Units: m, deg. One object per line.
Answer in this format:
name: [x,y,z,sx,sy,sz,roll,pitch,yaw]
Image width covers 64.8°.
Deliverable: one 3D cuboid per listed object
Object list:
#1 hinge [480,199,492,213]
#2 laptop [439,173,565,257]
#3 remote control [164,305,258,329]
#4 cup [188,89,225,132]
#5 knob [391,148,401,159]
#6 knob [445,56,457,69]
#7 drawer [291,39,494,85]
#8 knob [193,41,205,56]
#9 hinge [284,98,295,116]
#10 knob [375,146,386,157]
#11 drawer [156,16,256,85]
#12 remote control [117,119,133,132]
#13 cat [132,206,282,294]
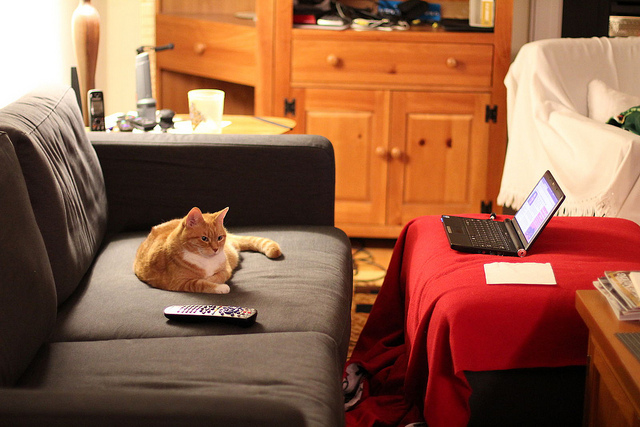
hinge: [1.045,-0.047,3.175,0.061,0.085,0.023,4,8,5]
laptop: [0.669,-0.027,1.915,0.393,0.255,0.387,6,21,13]
remote control: [-0.311,0.288,1.481,0.268,0.047,0.095,5,20,8]
cup: [-0.559,-0.499,2.486,0.217,0.236,0.216,1,10,0]
knob: [0.466,-0.367,3.119,0.053,0.062,0.053,-6,50,10]
knob: [0.782,-0.900,3.007,0.071,0.064,0.039,5,20,9]
drawer: [0.434,-0.905,3.035,1.198,0.230,0.103,1,20,-1]
knob: [-0.778,-1.052,3.227,0.095,0.087,0.040,18,26,38]
hinge: [-0.185,-0.660,3.106,0.096,0.132,0.014,2,20,5]
knob: [0.370,-0.380,3.102,0.057,0.066,0.057,5,23,-7]
drawer: [-0.733,-1.048,3.233,0.756,0.387,0.094,11,22,24]
remote control: [-0.928,-0.408,2.412,0.068,0.034,0.092,-1,34,-8]
cat: [-0.407,0.050,1.795,0.395,0.313,0.657,3,9,13]
